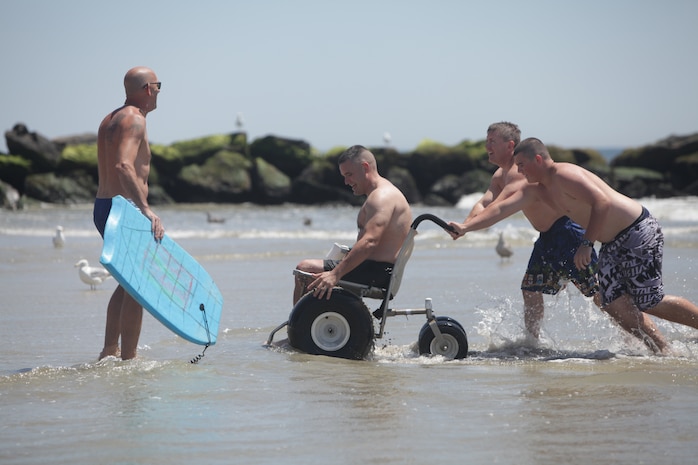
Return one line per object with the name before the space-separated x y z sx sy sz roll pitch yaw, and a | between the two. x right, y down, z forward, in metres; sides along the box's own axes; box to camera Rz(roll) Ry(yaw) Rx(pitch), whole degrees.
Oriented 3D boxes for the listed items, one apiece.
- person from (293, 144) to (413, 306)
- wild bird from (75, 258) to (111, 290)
person | 0.217 -0.127 18.599 1.408 2.281 0.981 1 0 -1
wild bird | -4.695 0.700 22.666 0.325 0.628 0.996 1 3 40
